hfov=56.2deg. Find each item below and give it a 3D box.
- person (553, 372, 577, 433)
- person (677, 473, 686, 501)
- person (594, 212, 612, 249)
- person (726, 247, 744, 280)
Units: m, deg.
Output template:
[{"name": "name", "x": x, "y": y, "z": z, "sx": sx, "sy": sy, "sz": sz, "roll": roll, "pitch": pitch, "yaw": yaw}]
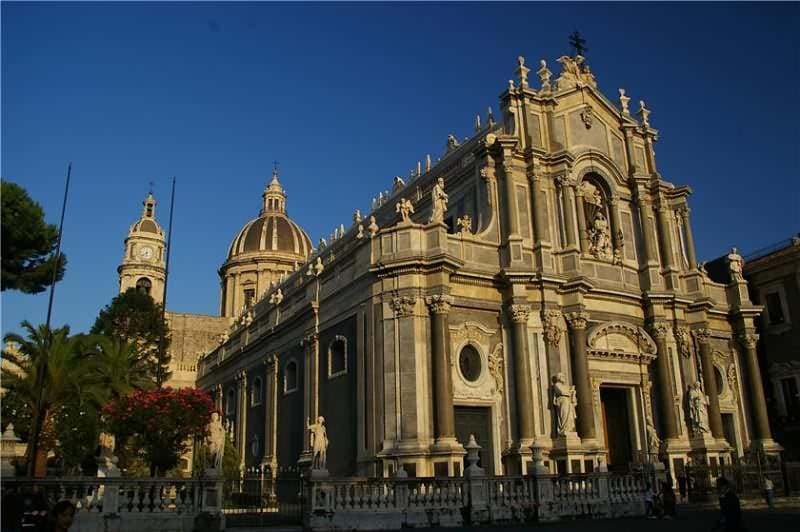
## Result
[{"name": "person", "x": 7.940, "y": 6.666, "z": 36.284, "sx": 1.304, "sy": 2.937, "sz": 0.751, "roll": 8, "pitch": -26, "yaw": -19}, {"name": "person", "x": 13.773, "y": 10.882, "z": 36.749, "sx": 0.459, "sy": 1.217, "sz": 0.774, "roll": -9, "pitch": -26, "yaw": 18}, {"name": "person", "x": 10.952, "y": -1.857, "z": 40.696, "sx": 1.233, "sy": 2.206, "sz": 0.450, "roll": 18, "pitch": -31, "yaw": -35}, {"name": "person", "x": 19.834, "y": -0.024, "z": 44.449, "sx": 0.878, "sy": 1.861, "sz": 0.919, "roll": -3, "pitch": -25, "yaw": 5}]
